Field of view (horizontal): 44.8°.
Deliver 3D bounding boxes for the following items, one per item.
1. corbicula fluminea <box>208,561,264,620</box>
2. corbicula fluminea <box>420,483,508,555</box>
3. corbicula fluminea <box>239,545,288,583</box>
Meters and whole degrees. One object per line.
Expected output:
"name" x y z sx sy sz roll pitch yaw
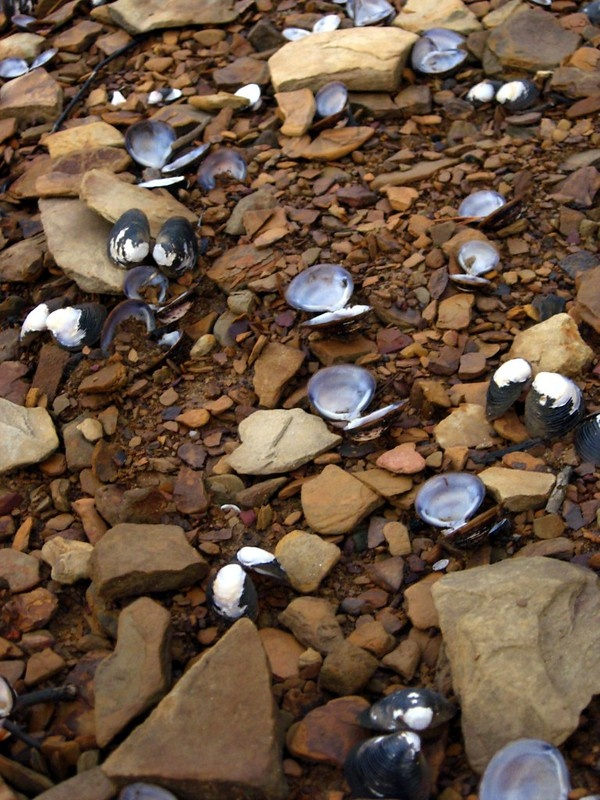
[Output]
"corbicula fluminea" -0.306 0.923 3.416 0.202 0.322 0.182 -32 46 -25
"corbicula fluminea" 0.765 0.529 3.512 0.340 0.246 0.378 -21 40 -17
"corbicula fluminea" -0.177 0.775 3.487 0.222 0.062 0.145 25 7 26
